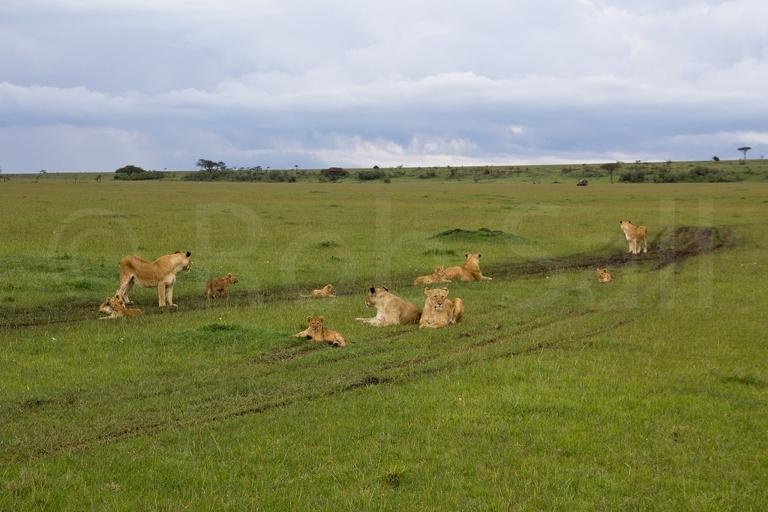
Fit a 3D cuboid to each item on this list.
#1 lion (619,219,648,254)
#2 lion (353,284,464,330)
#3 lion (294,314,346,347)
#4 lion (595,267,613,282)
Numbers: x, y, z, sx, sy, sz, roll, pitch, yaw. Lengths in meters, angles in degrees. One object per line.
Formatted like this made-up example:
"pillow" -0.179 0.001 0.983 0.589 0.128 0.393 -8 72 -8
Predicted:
"lion" 12.485 -0.907 35.331 2.252 1.437 0.494 1 -4 -34
"lion" 0.837 1.509 22.208 2.717 1.015 1.437 1 -3 19
"lion" -1.670 2.221 20.251 1.333 0.651 0.759 14 -8 15
"lion" 8.692 0.790 28.098 0.384 0.519 1.076 -3 -1 29
